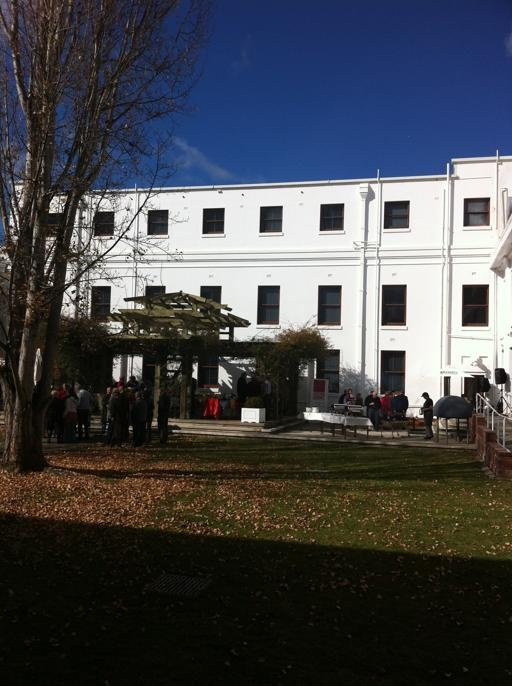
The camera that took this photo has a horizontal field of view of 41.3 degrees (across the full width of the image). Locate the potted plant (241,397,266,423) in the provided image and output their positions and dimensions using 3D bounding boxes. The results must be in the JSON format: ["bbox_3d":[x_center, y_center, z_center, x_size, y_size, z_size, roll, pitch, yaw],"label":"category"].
[{"bbox_3d":[-0.072,2.239,22.314,0.767,0.808,1.015,1,-2,-1],"label":"potted plant"}]

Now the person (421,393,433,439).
[{"bbox_3d":[5.242,2.220,20.701,0.326,1.363,1.495,1,-2,13],"label":"person"}]

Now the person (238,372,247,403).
[{"bbox_3d":[-0.462,1.699,24.291,0.299,1.205,0.928,1,-2,-1],"label":"person"}]

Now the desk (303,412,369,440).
[{"bbox_3d":[2.631,2.603,22.188,1.945,0.790,5.972,1,-2,7],"label":"desk"}]
